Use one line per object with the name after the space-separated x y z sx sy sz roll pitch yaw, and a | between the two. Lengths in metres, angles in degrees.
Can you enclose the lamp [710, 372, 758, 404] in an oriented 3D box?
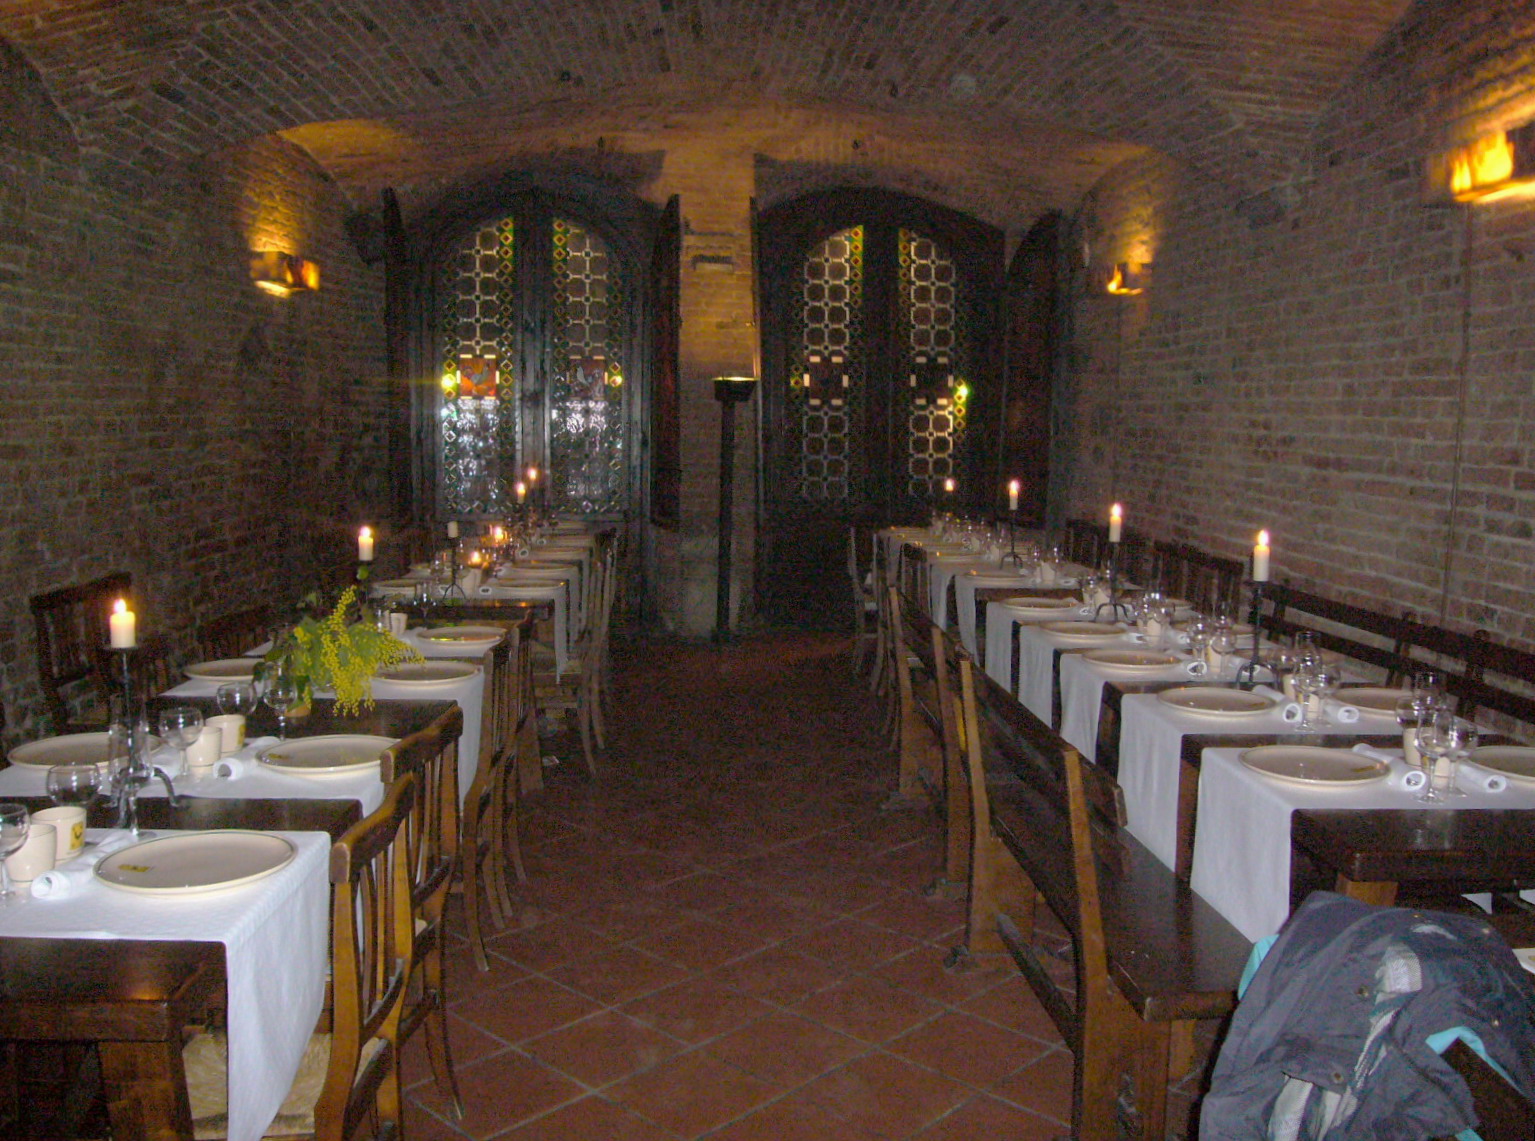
-0.301 -1.585 9.947 0.304 0.241 0.297 0 11 -13 | lamp
